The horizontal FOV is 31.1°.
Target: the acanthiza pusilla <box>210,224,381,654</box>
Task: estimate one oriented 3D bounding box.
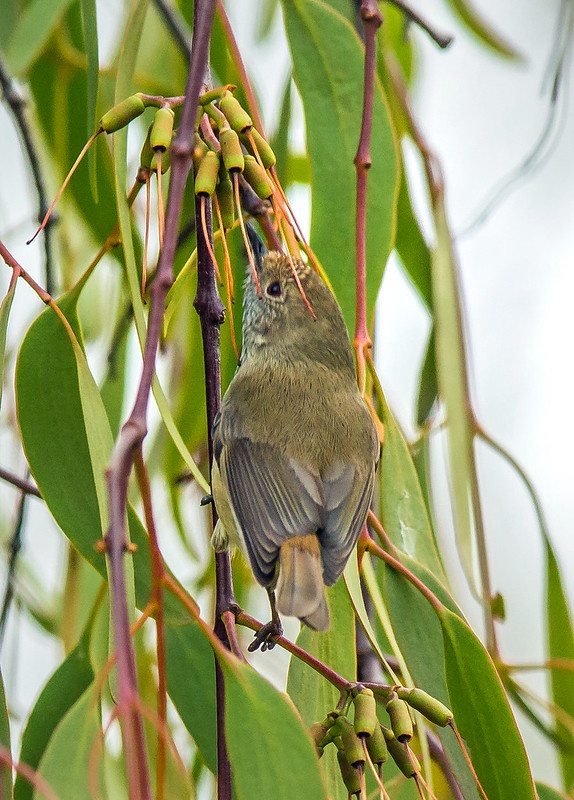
[{"bbox_3d":[0.000,0.013,1.909,0.197,0.931,0.527,3,-39,-4],"label":"acanthiza pusilla"}]

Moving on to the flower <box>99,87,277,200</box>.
[{"bbox_3d":[-0.132,-0.379,1.406,0.150,0.195,0.146,7,-79,-20],"label":"flower"}]
